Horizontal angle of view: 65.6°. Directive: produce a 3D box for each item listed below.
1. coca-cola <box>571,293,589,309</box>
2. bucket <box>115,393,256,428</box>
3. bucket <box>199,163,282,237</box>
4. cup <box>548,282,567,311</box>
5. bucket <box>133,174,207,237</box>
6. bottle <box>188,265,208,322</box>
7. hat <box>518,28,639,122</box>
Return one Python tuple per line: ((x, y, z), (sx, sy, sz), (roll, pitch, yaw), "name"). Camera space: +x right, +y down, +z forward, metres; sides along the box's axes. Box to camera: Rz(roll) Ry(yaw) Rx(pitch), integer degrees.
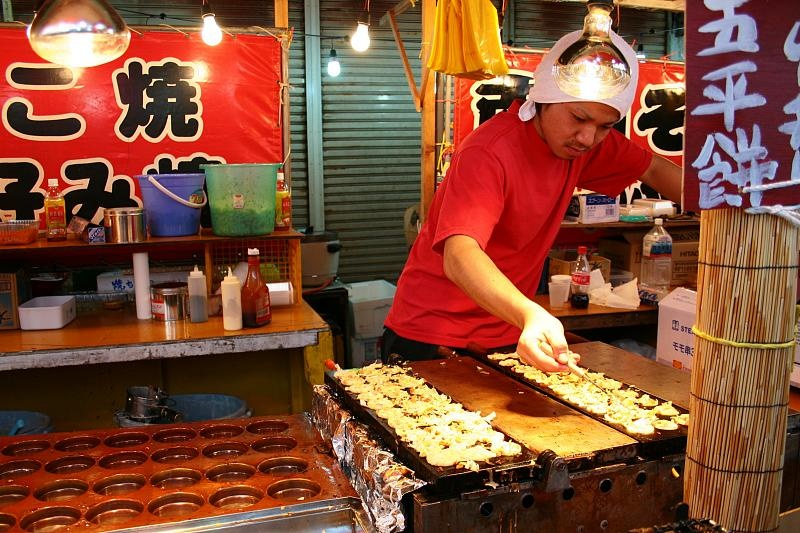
((1.281, 0.241, 4.432), (0.118, 0.091, 0.110), (3, 4, 21), "coca-cola")
((-1.156, 0.778, 3.429), (0.463, 0.145, 0.416), (-1, 3, -25), "bucket")
((-0.986, -0.418, 3.943), (0.541, 0.355, 0.482), (1, 5, 26), "bucket")
((1.142, 0.213, 4.523), (0.201, 0.168, 0.183), (-1, 4, 0), "cup")
((-1.516, -0.418, 4.126), (0.472, 0.342, 0.452), (-1, 8, 0), "bucket")
((-1.328, 0.190, 4.012), (0.142, 0.337, 0.131), (-2, -1, 0), "bottle")
((0.614, -0.785, 2.376), (0.254, 0.187, 0.261), (-7, 33, 25), "hat")
